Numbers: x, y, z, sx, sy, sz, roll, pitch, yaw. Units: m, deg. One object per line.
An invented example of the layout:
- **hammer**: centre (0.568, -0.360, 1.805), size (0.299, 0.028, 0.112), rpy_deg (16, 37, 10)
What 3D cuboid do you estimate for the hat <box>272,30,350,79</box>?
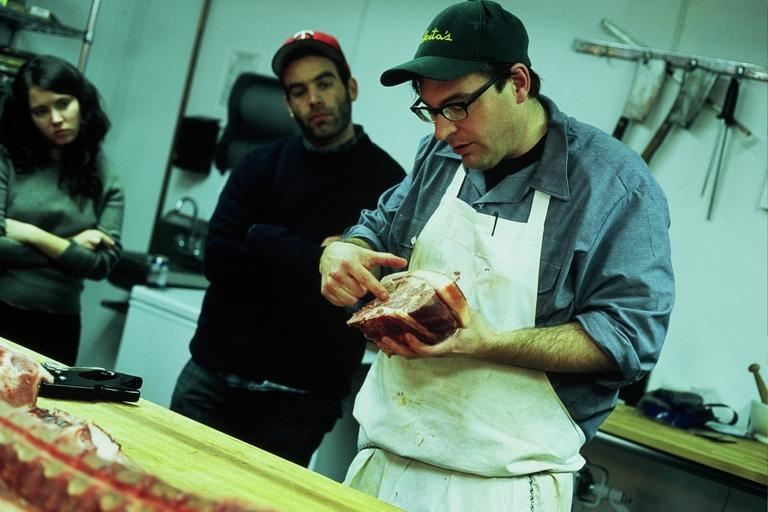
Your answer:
- **hat**: centre (-0.332, -0.848, 3.264), size (0.276, 0.214, 0.460), rpy_deg (-16, 9, -10)
